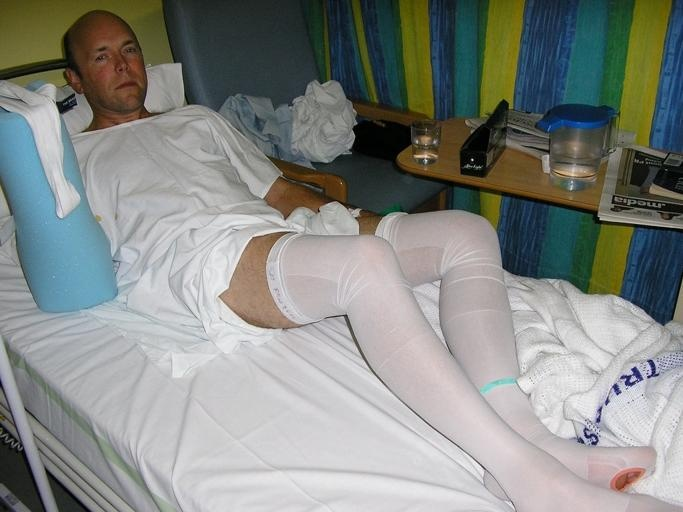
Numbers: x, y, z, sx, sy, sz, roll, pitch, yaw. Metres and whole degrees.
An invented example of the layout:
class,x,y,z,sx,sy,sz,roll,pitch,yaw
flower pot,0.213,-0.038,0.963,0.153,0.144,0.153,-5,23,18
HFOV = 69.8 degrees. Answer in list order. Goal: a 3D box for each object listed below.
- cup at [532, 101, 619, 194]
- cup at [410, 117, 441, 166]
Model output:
class,x,y,z,sx,sy,sz,roll,pitch,yaw
cup,0.780,-0.353,1.619,0.230,0.229,0.157,-4,25,6
cup,0.319,-0.424,1.823,0.116,0.139,0.121,-3,26,1
